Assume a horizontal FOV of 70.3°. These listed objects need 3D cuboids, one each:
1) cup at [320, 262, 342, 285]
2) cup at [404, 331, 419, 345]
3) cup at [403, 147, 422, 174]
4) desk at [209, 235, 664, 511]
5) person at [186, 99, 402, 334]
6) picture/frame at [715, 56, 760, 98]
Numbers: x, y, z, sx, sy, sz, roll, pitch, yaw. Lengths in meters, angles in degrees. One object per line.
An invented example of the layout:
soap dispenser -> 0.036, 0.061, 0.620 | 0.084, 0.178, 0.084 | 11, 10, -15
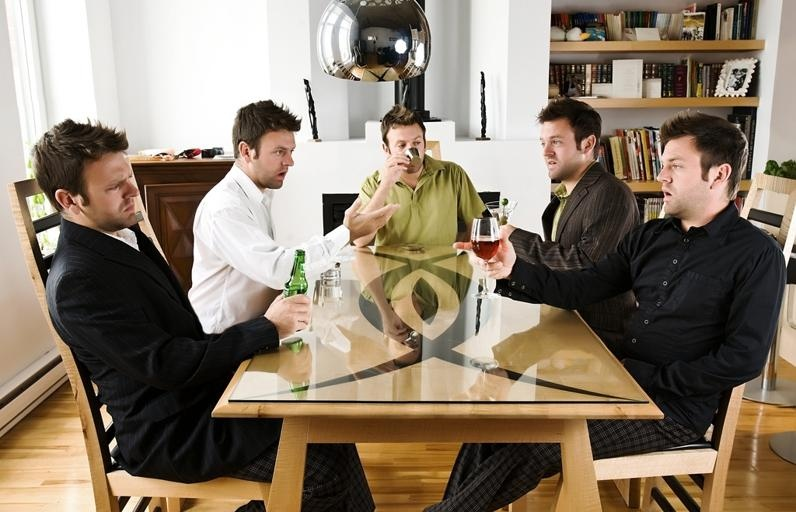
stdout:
cup -> -0.286, 0.078, 2.446 | 0.079, 0.084, 0.080 | 2, 5, 0
cup -> 0.050, 0.285, 1.976 | 0.035, 0.034, 0.034 | -4, 14, 1
cup -> 0.083, -0.522, 3.145 | 0.121, 0.121, 0.111 | -5, -14, -1
desk -> 0.140, 0.416, 2.051 | 1.000, 0.607, 1.043 | -1, 14, 1
person -> -0.411, -0.330, 3.112 | 1.213, 1.665, 0.718 | -3, 17, -9
picture/frame -> 2.842, -1.496, 4.767 | 0.304, 0.360, 0.074 | 5, 11, 19
